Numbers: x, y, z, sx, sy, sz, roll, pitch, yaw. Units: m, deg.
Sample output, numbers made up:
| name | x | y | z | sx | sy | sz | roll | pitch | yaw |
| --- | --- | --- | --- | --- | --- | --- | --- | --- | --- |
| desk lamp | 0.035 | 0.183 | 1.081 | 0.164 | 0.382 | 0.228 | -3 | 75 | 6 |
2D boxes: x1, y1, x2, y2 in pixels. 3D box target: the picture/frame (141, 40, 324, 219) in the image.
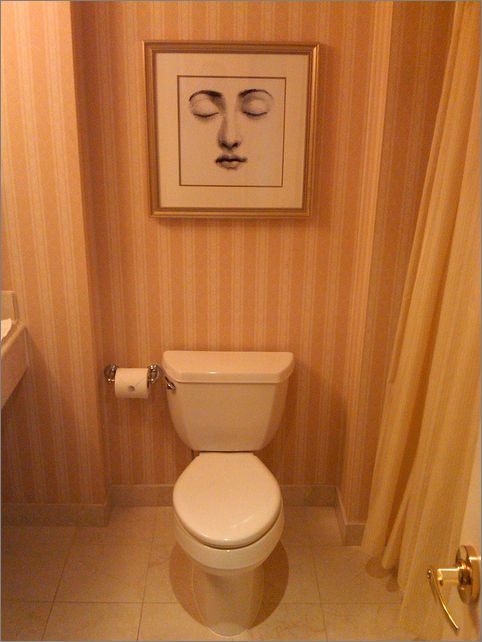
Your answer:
| name | x | y | z | sx | sy | sz | roll | pitch | yaw |
| --- | --- | --- | --- | --- | --- | --- | --- | --- | --- |
| picture/frame | -0.035 | -0.673 | 1.754 | 0.550 | 0.593 | 0.026 | 1 | 27 | 1 |

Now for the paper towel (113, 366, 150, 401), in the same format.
| name | x | y | z | sx | sy | sz | roll | pitch | yaw |
| --- | --- | --- | --- | --- | --- | --- | --- | --- | --- |
| paper towel | -0.400 | 0.235 | 1.933 | 0.126 | 0.119 | 0.103 | 1 | 52 | 0 |
